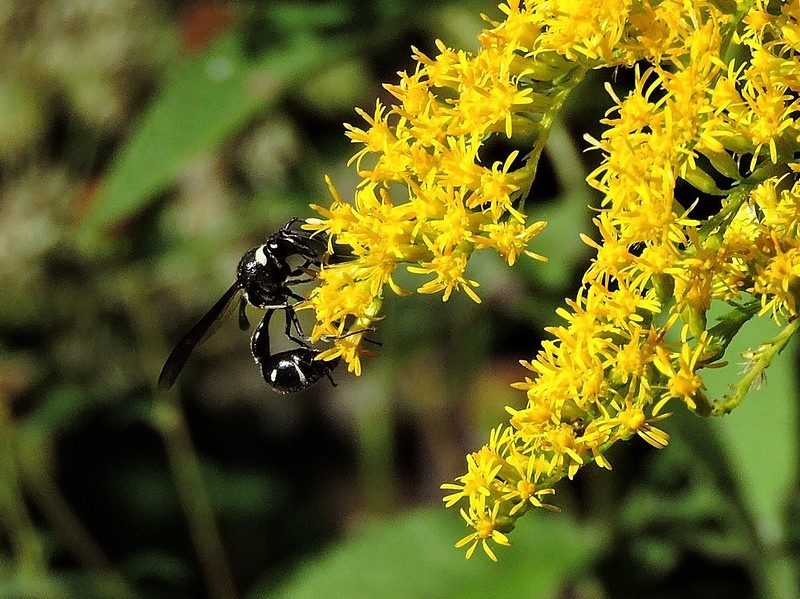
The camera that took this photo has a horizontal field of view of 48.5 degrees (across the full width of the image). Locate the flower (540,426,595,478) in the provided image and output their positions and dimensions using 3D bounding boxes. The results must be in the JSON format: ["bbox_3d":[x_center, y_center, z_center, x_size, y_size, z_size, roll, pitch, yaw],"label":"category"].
[{"bbox_3d":[0.260,0.240,1.405,0.063,0.083,0.079,7,8,34],"label":"flower"}]

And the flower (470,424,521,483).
[{"bbox_3d":[0.149,0.250,1.447,0.041,0.080,0.076,-32,-37,22],"label":"flower"}]

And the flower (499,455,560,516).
[{"bbox_3d":[0.208,0.312,1.442,0.096,0.096,0.042,-32,26,11],"label":"flower"}]

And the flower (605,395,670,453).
[{"bbox_3d":[0.368,0.196,1.389,0.124,0.043,0.111,2,19,-25],"label":"flower"}]

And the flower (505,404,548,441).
[{"bbox_3d":[0.201,0.184,1.429,0.061,0.033,0.060,-26,37,-11],"label":"flower"}]
